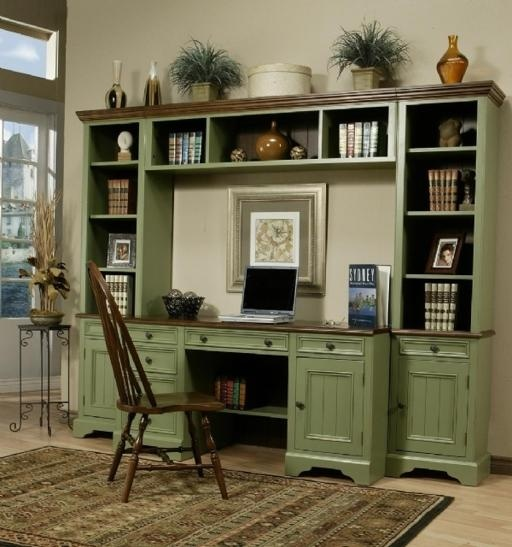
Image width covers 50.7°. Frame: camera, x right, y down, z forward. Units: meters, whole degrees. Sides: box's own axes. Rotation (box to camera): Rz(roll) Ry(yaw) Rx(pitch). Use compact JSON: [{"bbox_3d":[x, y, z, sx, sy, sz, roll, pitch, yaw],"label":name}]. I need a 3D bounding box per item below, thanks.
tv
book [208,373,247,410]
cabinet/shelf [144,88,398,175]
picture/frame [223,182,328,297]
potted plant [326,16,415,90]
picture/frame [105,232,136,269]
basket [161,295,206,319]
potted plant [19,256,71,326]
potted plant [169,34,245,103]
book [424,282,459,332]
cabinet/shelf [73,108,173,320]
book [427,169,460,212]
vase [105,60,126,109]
[{"bbox_3d":[0.001,0.120,3.102,0.434,0.312,0.365,0,2,32],"label":"tv"},{"bbox_3d":[-0.130,0.663,3.240,0.288,0.274,0.210,-1,-6,11],"label":"book"},{"bbox_3d":[0.222,-0.785,3.189,1.881,0.427,0.296,2,1,18],"label":"cabinet/shelf"},{"bbox_3d":[0.151,-0.210,3.379,0.767,0.788,0.059,0,0,23],"label":"picture/frame"},{"bbox_3d":[0.618,-1.230,3.083,0.439,0.379,0.399,5,15,8],"label":"potted plant"},{"bbox_3d":[-0.907,-0.147,3.633,0.255,0.278,0.021,-4,-13,18],"label":"picture/frame"},{"bbox_3d":[-0.429,0.203,3.269,0.164,0.081,0.162,2,-3,-45],"label":"basket"},{"bbox_3d":[-1.521,0.122,3.885,0.345,0.519,0.342,-4,-2,22],"label":"potted plant"},{"bbox_3d":[-0.332,-1.294,3.505,0.501,0.367,0.451,1,8,12],"label":"potted plant"},{"bbox_3d":[0.959,0.183,2.821,0.228,0.291,0.220,0,-2,20],"label":"book"},{"bbox_3d":[-0.959,-0.443,3.595,0.524,1.178,0.341,-1,14,-18],"label":"cabinet/shelf"},{"bbox_3d":[0.959,-0.429,2.865,0.215,0.278,0.210,0,1,16],"label":"book"},{"bbox_3d":[-0.926,-1.248,3.608,0.116,0.331,0.136,5,-7,-31],"label":"vase"}]
